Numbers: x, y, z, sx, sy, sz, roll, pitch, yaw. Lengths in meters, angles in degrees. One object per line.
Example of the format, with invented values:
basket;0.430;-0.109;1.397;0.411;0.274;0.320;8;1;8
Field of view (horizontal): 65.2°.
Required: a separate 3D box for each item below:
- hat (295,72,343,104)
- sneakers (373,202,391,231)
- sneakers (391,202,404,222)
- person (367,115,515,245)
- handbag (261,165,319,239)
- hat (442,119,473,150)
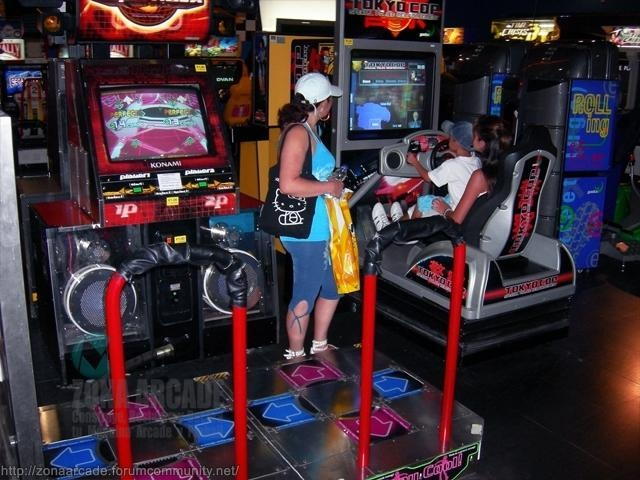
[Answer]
hat;-0.002;-0.898;2.993;0.246;0.133;0.182;-22;51;-16
sneakers;0.472;-0.191;3.872;0.092;0.280;0.111;2;-29;-23
sneakers;0.590;-0.221;3.859;0.079;0.239;0.093;2;-21;14
person;0.964;-0.521;3.818;0.875;0.840;0.580;5;18;22
handbag;-0.159;-0.221;2.876;0.316;0.526;0.137;12;17;-2
hat;1.048;-0.806;3.832;0.196;0.212;0.340;-1;17;4
